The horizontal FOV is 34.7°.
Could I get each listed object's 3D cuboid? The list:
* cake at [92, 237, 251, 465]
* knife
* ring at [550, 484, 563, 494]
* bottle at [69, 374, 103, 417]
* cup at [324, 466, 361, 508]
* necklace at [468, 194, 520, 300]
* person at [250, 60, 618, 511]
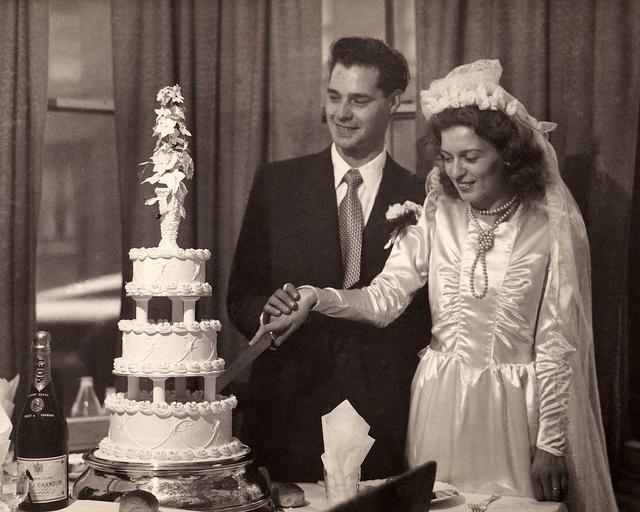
[{"bbox_3d":[-0.364,0.345,3.772,0.675,0.855,0.660,0,-3,-4],"label":"cake"},{"bbox_3d":[-0.283,0.437,4.159,0.091,0.387,0.040,50,15,26],"label":"knife"},{"bbox_3d":[0.837,0.828,3.639,0.026,0.026,0.027,1,-5,0],"label":"ring"},{"bbox_3d":[-1.127,0.673,4.940,0.169,0.201,0.171,-8,-15,30],"label":"bottle"},{"bbox_3d":[0.065,0.740,3.301,0.116,0.133,0.120,0,-10,0],"label":"cup"},{"bbox_3d":[0.637,-0.041,3.899,0.171,0.401,0.033,6,-9,31],"label":"necklace"},{"bbox_3d":[0.585,0.107,3.901,1.022,1.710,0.386,0,3,25],"label":"person"}]
